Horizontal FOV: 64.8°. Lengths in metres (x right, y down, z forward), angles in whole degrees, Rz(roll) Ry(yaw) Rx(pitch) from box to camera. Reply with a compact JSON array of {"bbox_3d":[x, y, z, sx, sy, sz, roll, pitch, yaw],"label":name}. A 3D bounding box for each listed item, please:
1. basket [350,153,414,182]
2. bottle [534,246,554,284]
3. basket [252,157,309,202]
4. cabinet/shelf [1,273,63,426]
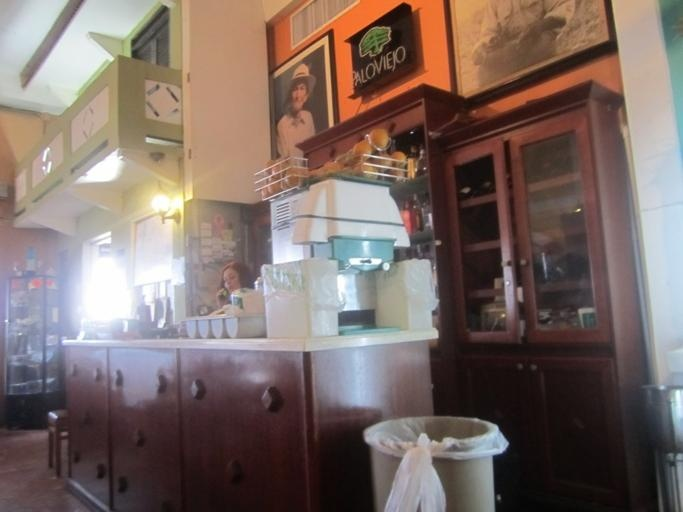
[{"bbox_3d":[0.239,-0.498,2.934,0.287,0.109,0.298,-1,10,-3],"label":"basket"},{"bbox_3d":[1.330,0.055,3.538,0.158,0.257,0.155,-1,-3,0],"label":"bottle"},{"bbox_3d":[-0.314,-0.478,3.152,0.145,0.212,0.503,-6,2,-29],"label":"basket"},{"bbox_3d":[-4.348,1.329,7.660,0.734,2.116,0.498,3,-10,-32],"label":"cabinet/shelf"}]
